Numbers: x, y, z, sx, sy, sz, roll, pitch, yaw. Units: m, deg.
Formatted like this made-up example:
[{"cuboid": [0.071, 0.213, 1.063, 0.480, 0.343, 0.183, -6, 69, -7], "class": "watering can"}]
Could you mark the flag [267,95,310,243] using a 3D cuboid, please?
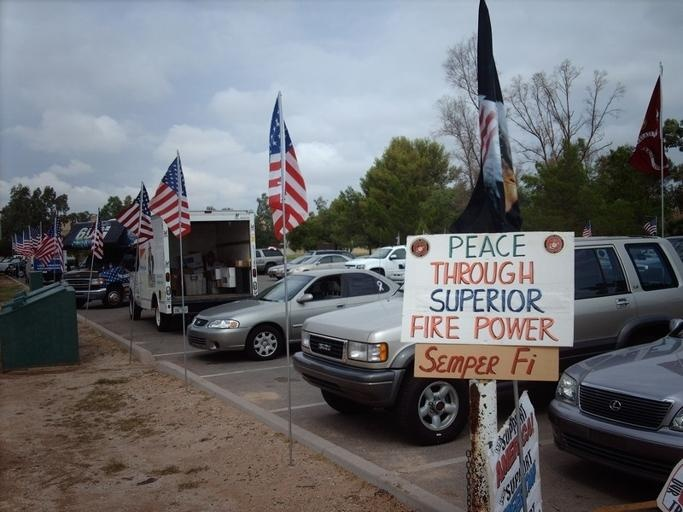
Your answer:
[{"cuboid": [-0.674, -1.107, 6.585, 0.467, 1.757, 0.586, -2, 2, -6], "class": "flag"}]

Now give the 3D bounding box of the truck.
[{"cuboid": [-3.978, 0.302, 15.606, 3.333, 3.835, 5.938, -1, 3, -28], "class": "truck"}]

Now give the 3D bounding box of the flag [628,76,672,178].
[{"cuboid": [9.311, -3.895, 16.059, 0.928, 2.890, 0.746, 0, 3, 33], "class": "flag"}]

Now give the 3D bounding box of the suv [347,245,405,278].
[{"cuboid": [2.204, 0.284, 28.689, 2.726, 1.499, 1.662, 3, -3, -28], "class": "suv"}]

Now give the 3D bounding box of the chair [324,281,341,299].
[{"cuboid": [-0.169, 0.686, 11.021, 0.210, 0.381, 0.365, 5, 0, 22], "class": "chair"}]

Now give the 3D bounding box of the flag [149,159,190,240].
[{"cuboid": [-3.453, -1.208, 10.532, 0.815, 1.619, 0.877, -2, 2, -4], "class": "flag"}]

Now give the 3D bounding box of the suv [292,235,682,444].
[{"cuboid": [2.079, 1.009, 7.413, 4.871, 2.349, 2.494, -1, -2, -24], "class": "suv"}]

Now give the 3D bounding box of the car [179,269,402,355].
[{"cuboid": [-0.967, 1.140, 11.135, 4.031, 1.526, 1.943, 0, -3, -25], "class": "car"}]

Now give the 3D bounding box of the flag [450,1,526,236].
[{"cuboid": [1.279, -1.229, 4.624, 0.506, 2.028, 0.451, -1, 2, 20], "class": "flag"}]
